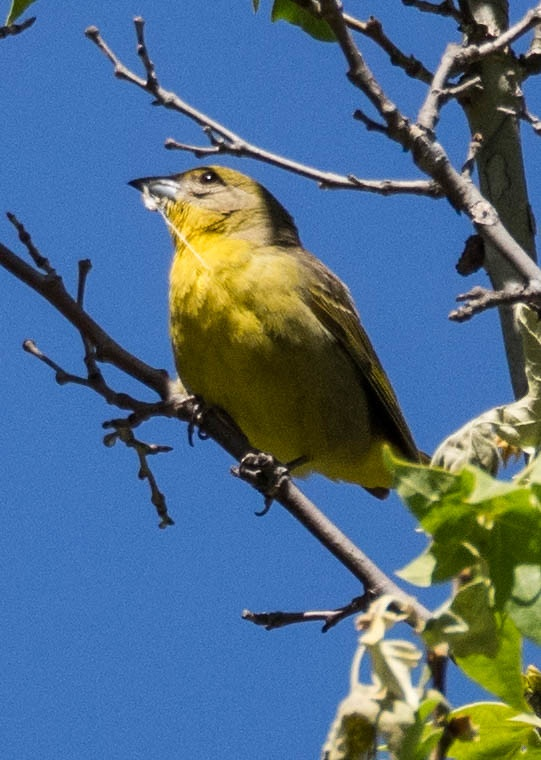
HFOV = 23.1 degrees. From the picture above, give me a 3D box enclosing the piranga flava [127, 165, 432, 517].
[{"bbox_3d":[0.102,-0.005,3.609,1.095,1.058,0.589,-3,-29,8],"label":"piranga flava"}]
